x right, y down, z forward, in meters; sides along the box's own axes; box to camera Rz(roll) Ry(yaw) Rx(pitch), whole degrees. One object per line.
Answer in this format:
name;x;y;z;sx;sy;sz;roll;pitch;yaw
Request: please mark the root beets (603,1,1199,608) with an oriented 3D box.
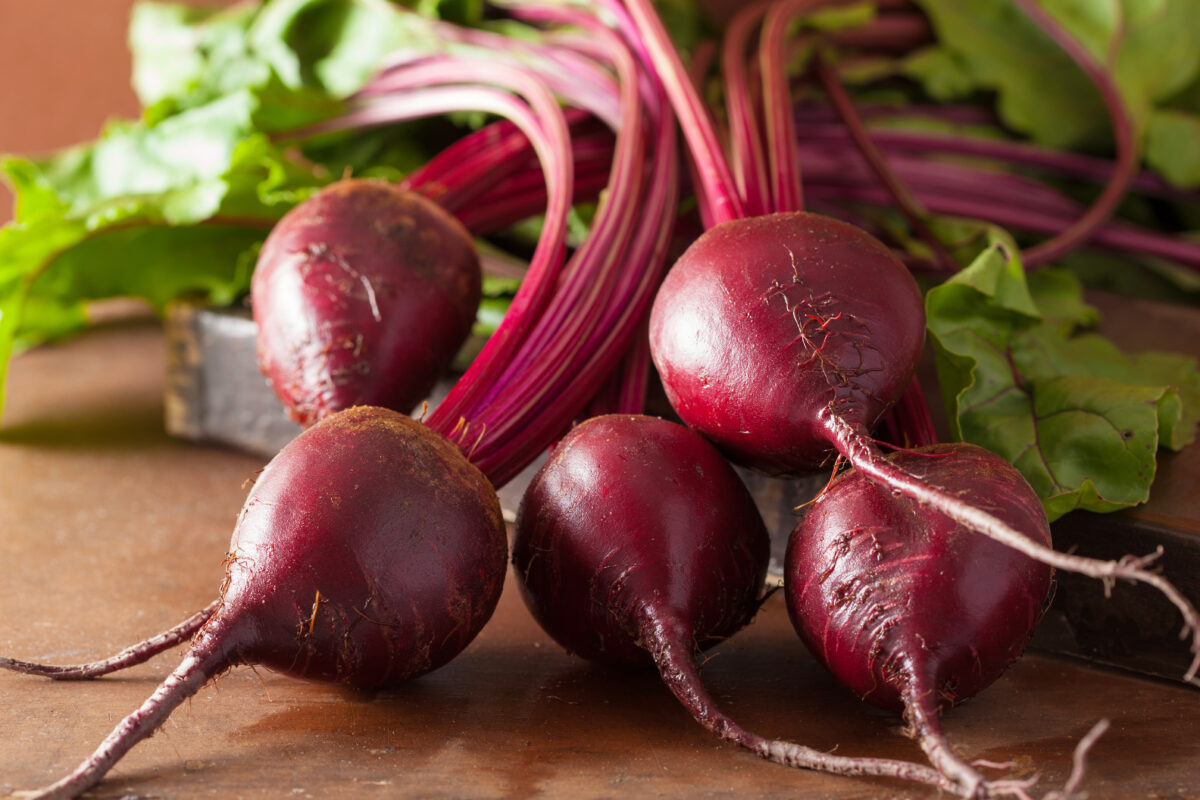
root beets;0.208;-0.145;1.113;0.172;0.331;0.653;-39;87;-23
